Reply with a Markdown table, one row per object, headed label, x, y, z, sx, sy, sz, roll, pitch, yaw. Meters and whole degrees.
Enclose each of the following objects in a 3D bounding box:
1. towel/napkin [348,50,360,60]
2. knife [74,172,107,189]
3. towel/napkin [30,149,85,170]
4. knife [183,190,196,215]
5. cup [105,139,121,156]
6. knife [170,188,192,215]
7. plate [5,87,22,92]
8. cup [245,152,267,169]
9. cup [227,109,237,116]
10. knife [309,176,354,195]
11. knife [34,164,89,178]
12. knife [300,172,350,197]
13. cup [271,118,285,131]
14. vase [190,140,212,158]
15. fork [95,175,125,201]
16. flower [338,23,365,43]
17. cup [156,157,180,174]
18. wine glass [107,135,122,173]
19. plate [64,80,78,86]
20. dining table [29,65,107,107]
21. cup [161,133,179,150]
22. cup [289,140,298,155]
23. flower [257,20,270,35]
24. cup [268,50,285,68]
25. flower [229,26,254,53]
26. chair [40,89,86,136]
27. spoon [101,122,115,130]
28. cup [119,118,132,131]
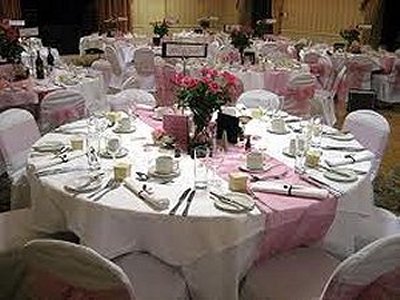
| label | x | y | z | sx | sy | sz | roll | pitch | yaw |
| --- | --- | --- | --- | --- | --- | --- | --- | --- | --- |
| towel/napkin | 3.957 | -2.421 | 6.811 | 0.283 | 0.175 | 0.524 | 7 | 33 | 18 |
| knife | -0.647 | 0.156 | 1.579 | 0.033 | 0.027 | 0.277 | 7 | 20 | 10 |
| towel/napkin | -0.965 | 0.018 | 1.808 | 0.096 | 0.061 | 0.311 | 9 | 24 | 33 |
| knife | -0.062 | 0.277 | 1.421 | 0.025 | 0.009 | 0.167 | 7 | 28 | 9 |
| cup | -0.551 | -0.025 | 1.721 | 0.089 | 0.121 | 0.097 | -6 | 31 | -13 |
| knife | -0.101 | 0.272 | 1.426 | 0.036 | 0.014 | 0.276 | 9 | 26 | 13 |
| plate | -2.581 | -0.843 | 3.678 | 0.229 | 0.039 | 0.182 | 2 | 23 | 2 |
| cup | 0.369 | 0.071 | 1.742 | 0.084 | 0.095 | 0.121 | 9 | 21 | 24 |
| cup | 0.320 | -0.373 | 2.603 | 0.088 | 0.076 | 0.098 | 8 | 24 | 17 |
| knife | 0.781 | 0.173 | 1.570 | 0.058 | 0.016 | 0.238 | 14 | 13 | -44 |
| knife | -0.891 | 0.135 | 1.697 | 0.221 | 0.029 | 0.050 | -7 | 7 | -29 |
| knife | 0.727 | 0.204 | 1.592 | 0.079 | 0.033 | 0.347 | -17 | 26 | -22 |
| cup | 0.702 | -0.239 | 2.373 | 0.104 | 0.090 | 0.084 | 8 | 22 | 23 |
| vase | 0.026 | -0.036 | 2.006 | 0.155 | 0.192 | 0.094 | 7 | 19 | 24 |
| fork | -0.518 | 0.214 | 1.549 | 0.041 | 0.036 | 0.226 | 8 | 38 | 24 |
| flower | 4.248 | -3.264 | 7.493 | 0.472 | 0.470 | 0.747 | 12 | 25 | 26 |
| cup | -0.210 | 0.080 | 1.682 | 0.120 | 0.091 | 0.100 | 6 | 14 | -3 |
| wine glass | -0.563 | 0.030 | 1.755 | 0.089 | 0.232 | 0.105 | -4 | 41 | -13 |
| plate | -2.005 | -1.082 | 4.179 | 0.220 | 0.050 | 0.368 | -11 | 26 | -25 |
| dining table | -2.035 | -1.121 | 4.414 | 0.806 | 0.393 | 0.863 | 18 | 38 | 15 |
| cup | -0.230 | -0.084 | 2.089 | 0.104 | 0.075 | 0.104 | 1 | 19 | 0 |
| cup | 0.689 | -0.026 | 1.964 | 0.057 | 0.072 | 0.090 | 11 | 31 | 17 |
| flower | 2.437 | -4.699 | 10.103 | 0.437 | 0.508 | 0.987 | 7 | 23 | 16 |
| cup | 1.574 | -1.881 | 5.475 | 0.331 | 0.400 | 0.375 | -3 | 21 | -5 |
| flower | 0.850 | -2.215 | 5.358 | 0.396 | 0.491 | 0.584 | 7 | 22 | 14 |
| chair | -1.653 | -0.532 | 3.451 | 0.438 | 0.761 | 0.553 | -6 | 18 | -25 |
| spoon | -0.830 | -0.230 | 2.442 | 0.034 | 0.034 | 0.186 | 10 | 27 | 16 |
| cup | -0.655 | -0.227 | 2.375 | 0.071 | 0.087 | 0.124 | 7 | 21 | 14 |
